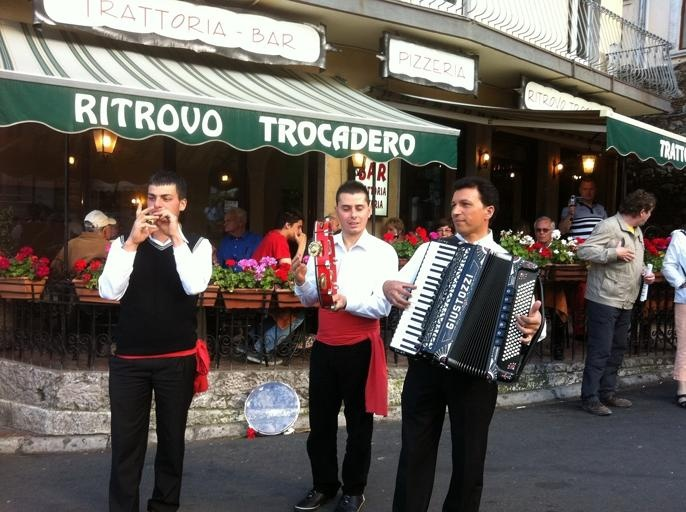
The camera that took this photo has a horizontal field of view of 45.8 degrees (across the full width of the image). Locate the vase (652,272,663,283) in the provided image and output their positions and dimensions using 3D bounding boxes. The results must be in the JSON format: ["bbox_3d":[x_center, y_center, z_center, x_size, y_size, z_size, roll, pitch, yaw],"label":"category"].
[{"bbox_3d":[4.610,0.302,11.976,0.176,0.180,0.096,0,-4,-9],"label":"vase"}]

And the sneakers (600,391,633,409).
[{"bbox_3d":[3.563,1.887,10.670,0.437,0.199,0.176,-1,6,2],"label":"sneakers"}]

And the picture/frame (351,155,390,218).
[{"bbox_3d":[0.670,-1.239,13.834,0.640,1.162,0.313,-3,10,-33],"label":"picture/frame"}]

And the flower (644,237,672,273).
[{"bbox_3d":[4.814,-0.044,12.670,0.554,0.394,0.561,1,0,-8],"label":"flower"}]

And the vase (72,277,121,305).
[{"bbox_3d":[-2.886,0.435,9.528,0.594,0.266,0.480,1,-1,-4],"label":"vase"}]

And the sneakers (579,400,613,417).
[{"bbox_3d":[3.184,1.918,10.300,0.324,0.135,0.171,0,5,44],"label":"sneakers"}]

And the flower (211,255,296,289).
[{"bbox_3d":[-1.147,0.226,9.898,0.933,0.374,0.672,3,3,-23],"label":"flower"}]

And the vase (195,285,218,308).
[{"bbox_3d":[-1.618,0.489,9.800,0.265,0.235,0.227,1,-3,-13],"label":"vase"}]

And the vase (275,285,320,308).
[{"bbox_3d":[-0.595,0.473,10.035,0.469,0.164,0.316,0,-2,-14],"label":"vase"}]
